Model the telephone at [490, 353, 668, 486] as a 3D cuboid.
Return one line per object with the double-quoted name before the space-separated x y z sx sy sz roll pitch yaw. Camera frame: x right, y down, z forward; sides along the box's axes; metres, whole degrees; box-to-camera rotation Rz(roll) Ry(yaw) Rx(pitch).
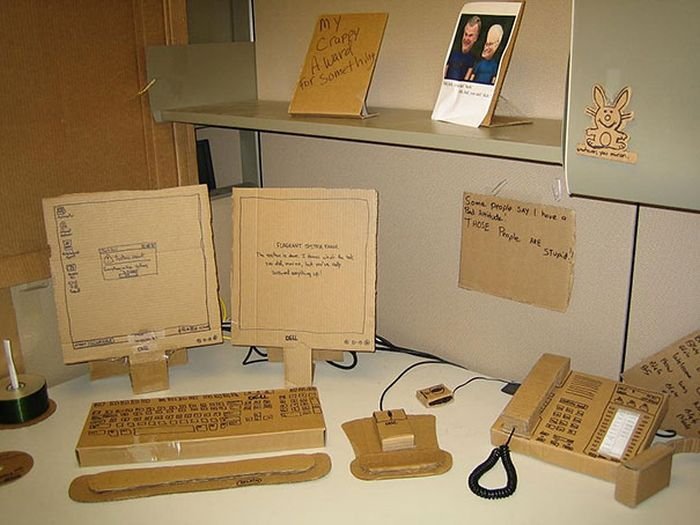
"telephone" 0.527 0.348 1.361 0.324 0.111 0.304 4 25 33
